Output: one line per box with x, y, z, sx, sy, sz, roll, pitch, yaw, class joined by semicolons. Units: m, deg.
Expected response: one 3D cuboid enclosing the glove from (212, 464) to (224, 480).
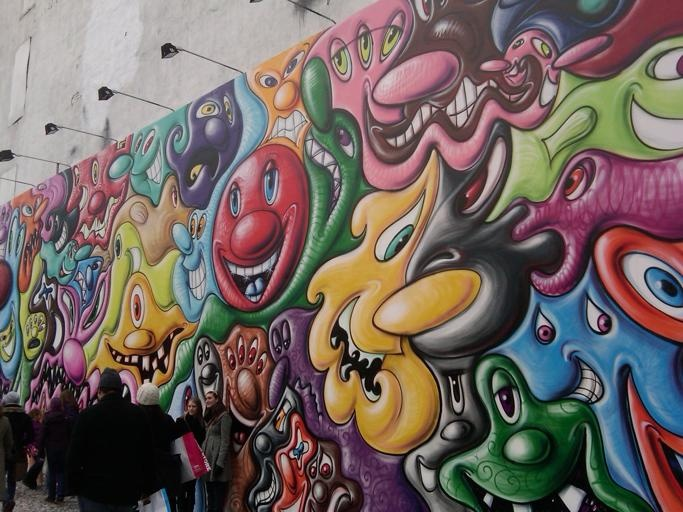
-1.792;3.166;15.974;0.111;0.233;0.217;5;11;-7;glove

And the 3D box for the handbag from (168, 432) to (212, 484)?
-2.019;2.690;14.516;0.537;0.623;0.323;-35;-8;-25;handbag

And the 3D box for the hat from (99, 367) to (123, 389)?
-2.851;1.525;13.614;0.216;0.297;0.233;1;-5;0;hat
